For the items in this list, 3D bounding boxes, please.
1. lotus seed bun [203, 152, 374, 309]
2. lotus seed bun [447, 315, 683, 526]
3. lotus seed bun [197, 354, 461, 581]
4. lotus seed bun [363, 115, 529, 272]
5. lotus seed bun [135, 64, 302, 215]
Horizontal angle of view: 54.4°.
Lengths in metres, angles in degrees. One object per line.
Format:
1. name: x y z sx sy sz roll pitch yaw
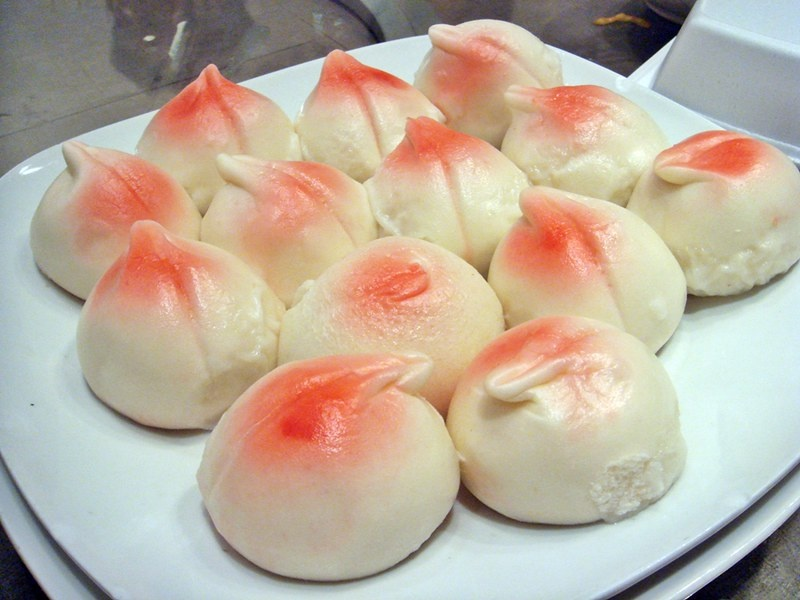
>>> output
1. lotus seed bun: -0.132 -0.101 1.150 0.223 0.148 0.217 23 55 19
2. lotus seed bun: 0.186 0.133 0.877 0.262 0.115 0.235 -8 66 -1
3. lotus seed bun: -0.077 0.184 0.843 0.261 0.084 0.225 -9 66 -1
4. lotus seed bun: 0.052 -0.165 1.088 0.219 0.074 0.223 -31 75 -17
5. lotus seed bun: -0.267 -0.287 1.237 0.267 0.165 0.271 -33 37 -22
